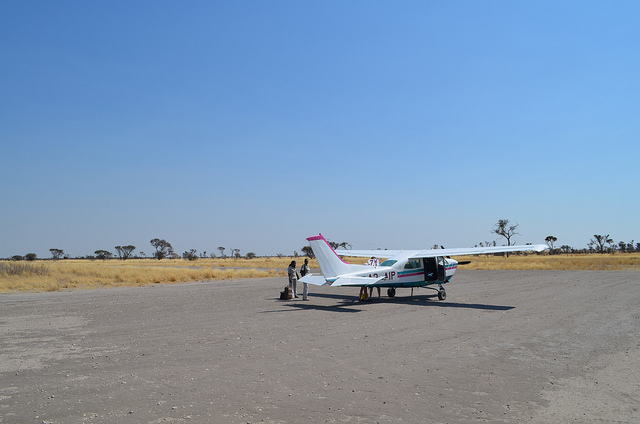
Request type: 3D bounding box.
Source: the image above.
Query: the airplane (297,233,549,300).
[{"bbox_3d":[4.084,3.032,23.813,8.445,3.350,9.054,4,-7,-33],"label":"airplane"}]
